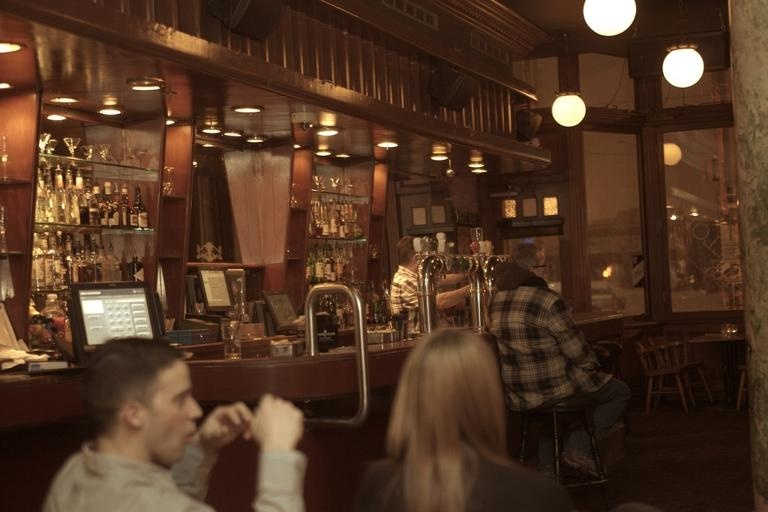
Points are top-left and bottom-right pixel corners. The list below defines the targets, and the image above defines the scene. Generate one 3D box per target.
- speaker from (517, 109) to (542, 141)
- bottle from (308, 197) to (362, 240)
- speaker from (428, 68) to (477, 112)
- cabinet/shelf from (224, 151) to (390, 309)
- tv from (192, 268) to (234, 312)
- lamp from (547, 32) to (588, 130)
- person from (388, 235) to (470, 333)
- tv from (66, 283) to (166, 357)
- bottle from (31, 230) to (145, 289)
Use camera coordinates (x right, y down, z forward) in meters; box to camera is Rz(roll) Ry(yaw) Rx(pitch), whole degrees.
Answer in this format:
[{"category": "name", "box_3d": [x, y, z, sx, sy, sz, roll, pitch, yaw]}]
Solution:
[{"category": "speaker", "box_3d": [1.885, -1.705, 8.364, 0.327, 0.420, 0.153, -4, -1, 11]}, {"category": "bottle", "box_3d": [-0.611, -0.454, 7.773, 0.482, 0.448, 0.257, 6, -14, -44]}, {"category": "speaker", "box_3d": [0.747, -1.805, 6.914, 0.526, 0.464, 0.376, -4, -1, 1]}, {"category": "cabinet/shelf", "box_3d": [-0.909, -0.323, 7.077, 0.525, 1.673, 1.819, -2, -2, 28]}, {"category": "tv", "box_3d": [-1.644, 0.330, 6.143, 0.053, 0.466, 0.423, -21, -10, 31]}, {"category": "lamp", "box_3d": [2.547, -2.449, 8.918, 0.463, 1.489, 1.850, -4, -1, 19]}, {"category": "person", "box_3d": [0.393, 0.168, 6.095, 0.723, 0.896, 2.419, -4, -1, 4]}, {"category": "tv", "box_3d": [-1.454, 0.333, 3.448, 0.122, 0.323, 0.375, -1, 5, 39]}, {"category": "bottle", "box_3d": [-2.426, 0.028, 5.187, 0.478, 0.437, 0.152, -1, 4, -40]}]
